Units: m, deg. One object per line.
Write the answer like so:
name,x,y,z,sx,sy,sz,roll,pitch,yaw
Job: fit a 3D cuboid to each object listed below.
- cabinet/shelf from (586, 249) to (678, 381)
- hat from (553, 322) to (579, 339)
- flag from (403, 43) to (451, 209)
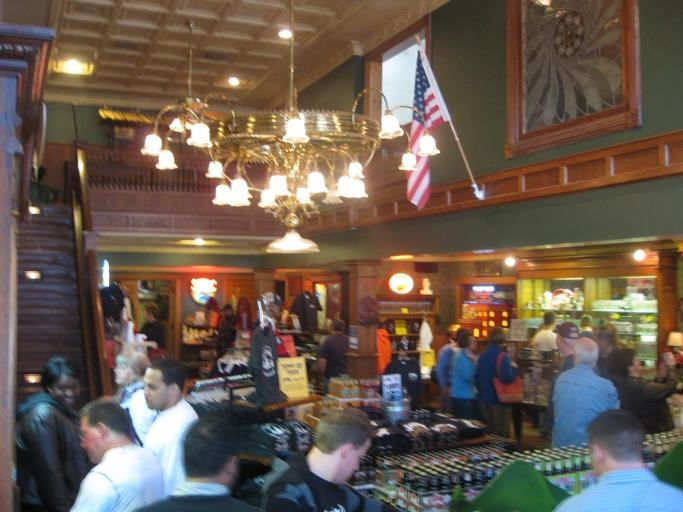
cabinet/shelf,4.123,0.809,7.321,0.334,1.137,1.746,6,-6,-35
hat,2.677,0.869,6.249,0.213,0.171,0.293,2,7,-13
flag,1.036,-1.431,6.431,0.520,0.261,2.467,-5,-41,10
